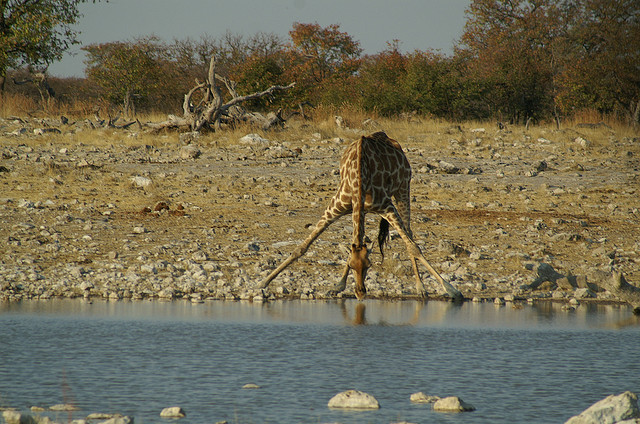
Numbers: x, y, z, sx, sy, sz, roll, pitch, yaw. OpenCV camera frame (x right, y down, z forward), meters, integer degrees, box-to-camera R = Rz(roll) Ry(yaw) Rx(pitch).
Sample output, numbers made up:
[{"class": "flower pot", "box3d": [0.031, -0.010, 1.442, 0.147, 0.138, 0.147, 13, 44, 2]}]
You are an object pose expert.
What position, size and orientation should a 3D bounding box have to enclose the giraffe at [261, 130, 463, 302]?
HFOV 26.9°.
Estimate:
[{"class": "giraffe", "box3d": [1.671, -0.276, 40.538, 3.892, 6.551, 2.509, 1, 2, 13]}]
